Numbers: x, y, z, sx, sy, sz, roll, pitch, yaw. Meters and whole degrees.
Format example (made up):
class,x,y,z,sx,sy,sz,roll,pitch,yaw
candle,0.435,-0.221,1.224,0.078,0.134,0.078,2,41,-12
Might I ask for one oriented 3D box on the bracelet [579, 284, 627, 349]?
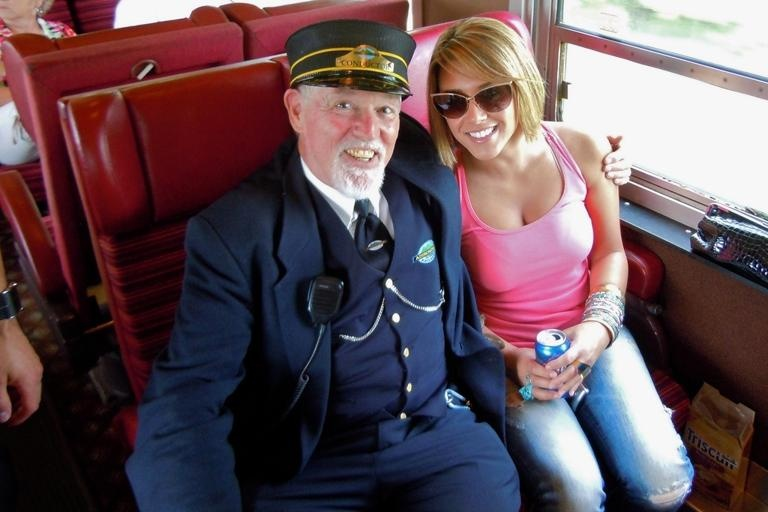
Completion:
class,x,y,z,sx,sy,sz,roll,pitch,yaw
bracelet,1.019,0.295,2.633,0.189,0.256,0.232,9,62,18

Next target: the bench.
class,x,y,z,sx,sy,sz,roll,pitch,yaw
bench,0.028,0.163,3.016,1.605,2.514,2.404,-19,35,6

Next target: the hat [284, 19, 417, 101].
class,x,y,z,sx,sy,sz,roll,pitch,yaw
hat,-0.135,-0.741,2.142,0.435,0.215,0.532,2,12,-12

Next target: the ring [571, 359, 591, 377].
class,x,y,z,sx,sy,sz,roll,pitch,yaw
ring,0.869,0.486,2.470,0.084,0.080,0.030,-48,27,10

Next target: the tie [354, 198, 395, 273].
class,x,y,z,sx,sy,sz,roll,pitch,yaw
tie,-0.074,-0.078,2.282,0.153,0.281,0.100,-26,9,-21
